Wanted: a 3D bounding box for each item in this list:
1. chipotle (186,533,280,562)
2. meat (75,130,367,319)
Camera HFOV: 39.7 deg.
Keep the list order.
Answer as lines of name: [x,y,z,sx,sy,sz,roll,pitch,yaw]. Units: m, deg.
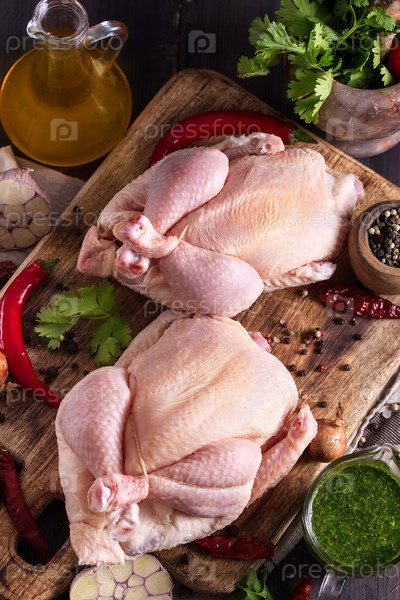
chipotle: [0.137,1.031,2.337,0.392,0.080,0.116,2,48,2]
meat: [0.103,-0.304,2.349,1.057,0.628,0.710,-28,51,-28]
